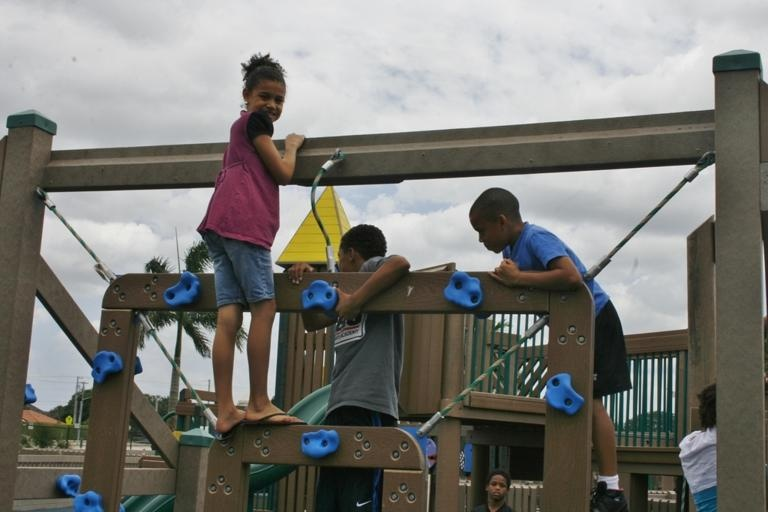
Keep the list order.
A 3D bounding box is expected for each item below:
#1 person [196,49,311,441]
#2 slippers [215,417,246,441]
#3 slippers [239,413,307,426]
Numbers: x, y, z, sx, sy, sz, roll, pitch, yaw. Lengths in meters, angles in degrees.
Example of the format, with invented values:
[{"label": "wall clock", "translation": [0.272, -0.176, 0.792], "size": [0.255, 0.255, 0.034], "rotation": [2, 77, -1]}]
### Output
[{"label": "person", "translation": [-0.978, -0.196, 9.230], "size": [0.721, 2.909, 0.486], "rotation": [3, -13, -10]}, {"label": "slippers", "translation": [-1.134, 1.229, 9.070], "size": [0.267, 0.165, 0.113], "rotation": [-9, -16, 30]}, {"label": "slippers", "translation": [-0.791, 1.170, 9.022], "size": [0.410, 0.099, 0.172], "rotation": [-2, -10, 7]}]
